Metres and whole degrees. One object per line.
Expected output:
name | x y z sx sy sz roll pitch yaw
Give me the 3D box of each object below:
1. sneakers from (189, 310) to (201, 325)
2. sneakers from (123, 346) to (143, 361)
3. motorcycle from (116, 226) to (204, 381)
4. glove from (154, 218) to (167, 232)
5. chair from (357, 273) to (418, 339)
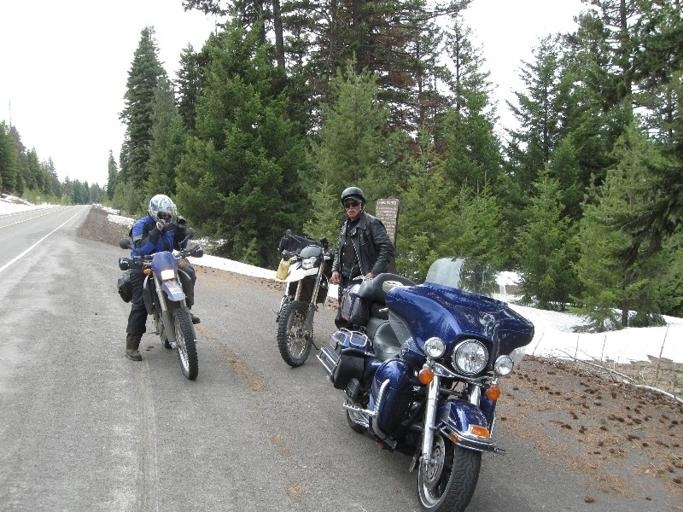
sneakers | -2.451 1.034 9.092 0.188 0.287 0.604 2 -6 -25
sneakers | -3.345 1.574 8.669 0.353 0.310 0.133 2 2 5
motorcycle | -2.715 0.710 8.364 1.774 2.132 0.997 13 15 40
glove | -2.820 -0.478 8.434 0.153 0.173 0.160 22 14 20
chair | 0.533 0.493 6.590 0.435 0.463 0.712 4 -2 -12
